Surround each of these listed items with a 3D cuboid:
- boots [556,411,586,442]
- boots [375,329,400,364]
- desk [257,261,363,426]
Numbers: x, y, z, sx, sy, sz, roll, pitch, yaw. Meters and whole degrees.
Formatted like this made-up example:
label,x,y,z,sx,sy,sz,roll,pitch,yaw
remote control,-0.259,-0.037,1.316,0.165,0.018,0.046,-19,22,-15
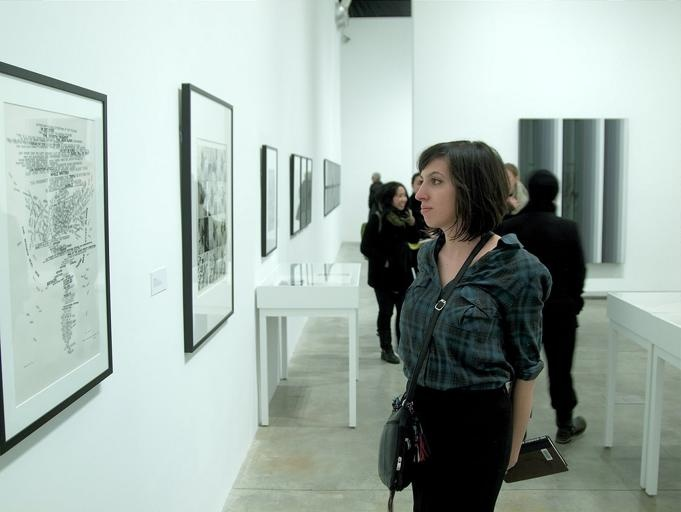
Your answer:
label,x,y,z,sx,sy,sz,roll,pitch,yaw
boots,1.728,1.273,4.459,0.116,0.152,0.339,8,28,41
boots,0.487,0.997,6.332,0.368,0.399,0.175,2,4,37
desk,-0.235,0.686,4.991,0.782,1.167,1.148,0,10,2
